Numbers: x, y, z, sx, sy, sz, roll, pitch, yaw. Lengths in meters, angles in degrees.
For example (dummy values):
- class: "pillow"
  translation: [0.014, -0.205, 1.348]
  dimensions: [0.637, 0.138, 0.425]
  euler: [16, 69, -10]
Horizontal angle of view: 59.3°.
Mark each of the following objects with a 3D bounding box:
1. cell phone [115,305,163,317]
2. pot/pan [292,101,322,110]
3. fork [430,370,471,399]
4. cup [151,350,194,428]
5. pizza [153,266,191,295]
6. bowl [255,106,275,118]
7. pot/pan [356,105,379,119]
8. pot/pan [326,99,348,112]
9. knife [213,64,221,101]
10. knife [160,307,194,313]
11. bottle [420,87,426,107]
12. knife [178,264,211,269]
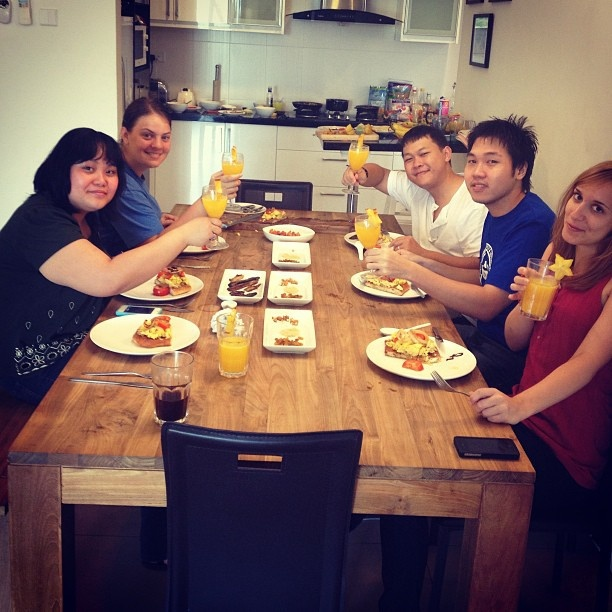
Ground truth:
- class: "cell phone"
  translation: [-0.489, 0.015, 1.574]
  dimensions: [0.106, 0.010, 0.058]
  euler: [-1, 14, -4]
- class: "pot/pan"
  translation: [0.016, -1.937, 5.181]
  dimensions: [0.258, 0.061, 0.192]
  euler: [-7, 24, -21]
- class: "fork"
  translation: [0.323, 0.184, 1.281]
  dimensions: [0.027, 0.026, 0.220]
  euler: [11, 0, -13]
- class: "cup"
  translation: [-0.269, 0.164, 1.094]
  dimensions: [0.086, 0.117, 0.151]
  euler: [-5, 24, -16]
- class: "pizza"
  translation: [-0.440, -0.087, 1.748]
  dimensions: [0.081, 0.035, 0.107]
  euler: [-5, 21, -15]
- class: "bowl"
  translation: [-0.381, -1.836, 5.070]
  dimensions: [0.190, 0.087, 0.353]
  euler: [0, 22, -5]
- class: "pot/pan"
  translation: [0.606, -1.894, 5.254]
  dimensions: [0.224, 0.123, 0.212]
  euler: [4, 23, 6]
- class: "pot/pan"
  translation: [0.306, -1.944, 5.210]
  dimensions: [0.212, 0.122, 0.150]
  euler: [1, 23, -2]
- class: "knife"
  translation: [-0.873, -2.198, 5.269]
  dimensions: [0.095, 0.328, 0.213]
  euler: [-2, 24, -9]
- class: "knife"
  translation: [-0.392, 0.013, 1.623]
  dimensions: [0.081, 0.009, 0.010]
  euler: [3, 53, -5]
- class: "bottle"
  translation: [1.187, -2.130, 5.409]
  dimensions: [0.076, 0.123, 0.165]
  euler: [6, 23, 9]
- class: "knife"
  translation: [-0.427, -0.153, 2.058]
  dimensions: [0.160, 0.010, 0.015]
  euler: [6, 22, 13]
